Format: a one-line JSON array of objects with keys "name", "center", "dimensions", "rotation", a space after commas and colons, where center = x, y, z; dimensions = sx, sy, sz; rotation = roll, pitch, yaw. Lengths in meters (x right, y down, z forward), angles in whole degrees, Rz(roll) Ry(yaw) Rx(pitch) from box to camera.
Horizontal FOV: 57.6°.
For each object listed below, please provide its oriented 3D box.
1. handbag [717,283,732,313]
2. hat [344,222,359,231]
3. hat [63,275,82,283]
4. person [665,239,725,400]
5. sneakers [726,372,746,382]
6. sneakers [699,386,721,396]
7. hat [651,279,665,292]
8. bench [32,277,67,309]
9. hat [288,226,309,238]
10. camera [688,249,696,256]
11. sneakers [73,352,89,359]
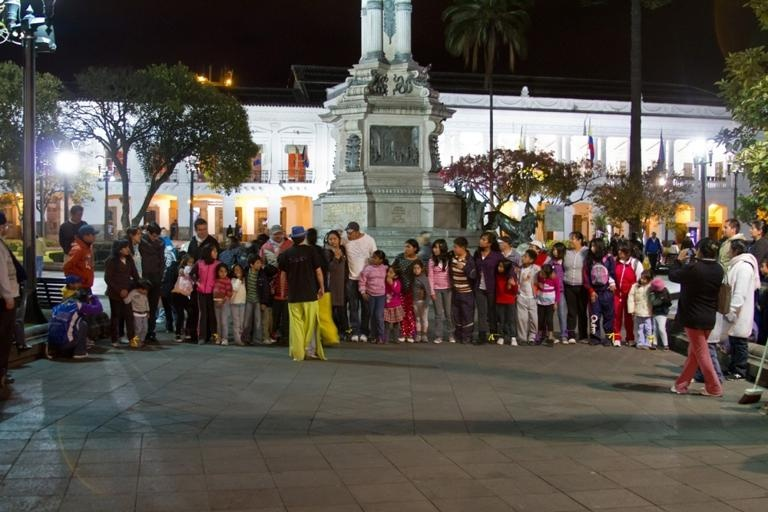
[{"name": "handbag", "center": [5.088, 0.635, 10.484], "dimensions": [0.176, 0.440, 0.451], "rotation": [3, -1, 3]}, {"name": "hat", "center": [-0.675, -0.599, 14.463], "dimensions": [0.245, 0.142, 0.185], "rotation": [9, 5, -18]}, {"name": "hat", "center": [-5.710, 0.422, 12.765], "dimensions": [0.182, 0.149, 0.157], "rotation": [-20, -49, 24]}, {"name": "person", "center": [4.782, 0.906, 10.669], "dimensions": [0.790, 2.345, 0.697], "rotation": [3, 7, 17]}, {"name": "sneakers", "center": [5.752, 1.991, 11.451], "dimensions": [0.327, 0.140, 0.118], "rotation": [3, 0, 1]}, {"name": "sneakers", "center": [4.928, 2.037, 10.571], "dimensions": [0.306, 0.131, 0.265], "rotation": [6, 8, 39]}, {"name": "hat", "center": [5.322, 0.557, 13.630], "dimensions": [0.240, 0.241, 0.377], "rotation": [3, 7, 20]}, {"name": "bench", "center": [-7.298, 0.823, 15.196], "dimensions": [0.868, 0.589, 0.361], "rotation": [1, 0, -18]}, {"name": "hat", "center": [-1.589, -0.437, 12.856], "dimensions": [0.292, 0.214, 0.391], "rotation": [0, 7, -3]}, {"name": "camera", "center": [6.368, -0.079, 14.508], "dimensions": [0.144, 0.070, 0.196], "rotation": [0, 10, 19]}, {"name": "sneakers", "center": [-5.377, 1.766, 12.367], "dimensions": [0.197, 0.094, 0.096], "rotation": [-9, -4, 32]}]
